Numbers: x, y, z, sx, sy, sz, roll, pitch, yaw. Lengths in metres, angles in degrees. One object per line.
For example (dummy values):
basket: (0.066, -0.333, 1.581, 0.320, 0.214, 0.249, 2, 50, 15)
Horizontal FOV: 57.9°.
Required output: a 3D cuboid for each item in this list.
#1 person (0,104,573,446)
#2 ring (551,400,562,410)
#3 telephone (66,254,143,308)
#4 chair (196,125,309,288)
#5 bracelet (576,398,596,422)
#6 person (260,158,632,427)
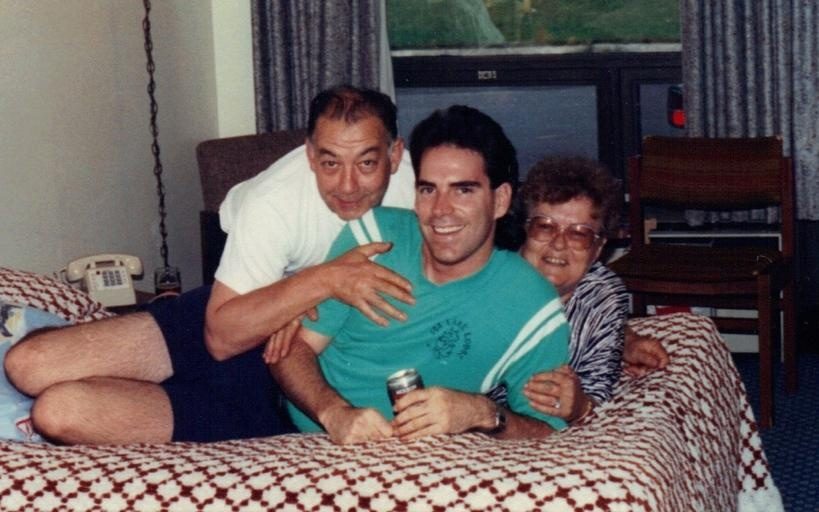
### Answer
person: (-0.291, 0.124, 2.526, 1.810, 0.965, 1.120, 0, 39, -15)
ring: (0.476, 0.476, 2.407, 0.036, 0.033, 0.007, 2, 1, -3)
telephone: (-1.520, 0.101, 3.729, 0.348, 0.160, 0.282, -7, 17, -36)
chair: (-0.820, -0.251, 4.124, 0.684, 0.561, 0.888, -15, 52, -23)
bracelet: (0.592, 0.516, 2.499, 0.053, 0.066, 0.061, 18, -24, 11)
person: (0.141, 0.142, 2.716, 1.052, 0.983, 1.021, -6, 17, -31)
